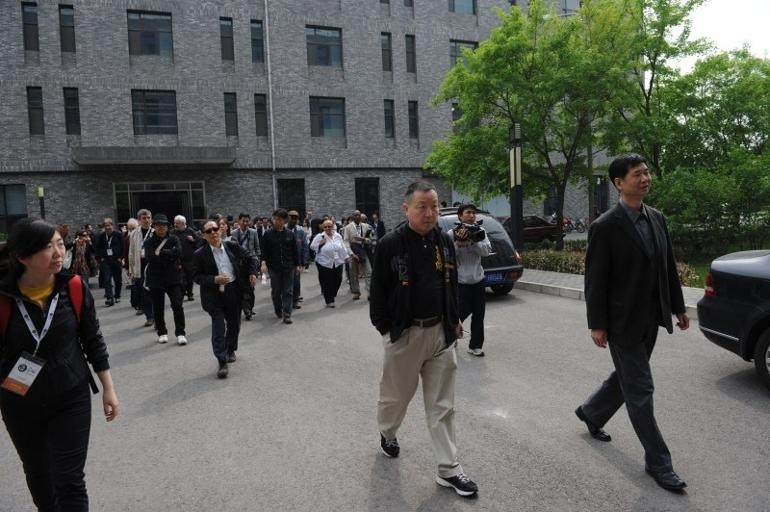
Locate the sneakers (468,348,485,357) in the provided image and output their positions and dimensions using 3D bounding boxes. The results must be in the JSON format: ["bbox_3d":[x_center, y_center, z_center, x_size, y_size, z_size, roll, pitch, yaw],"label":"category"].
[{"bbox_3d":[1.406,1.515,8.583,0.096,0.087,0.204,1,-5,-36],"label":"sneakers"}]

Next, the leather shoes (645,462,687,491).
[{"bbox_3d":[2.544,2.042,5.121,0.130,0.170,0.379,-4,-4,-15],"label":"leather shoes"}]

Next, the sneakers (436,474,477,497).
[{"bbox_3d":[0.668,2.093,5.127,0.329,0.150,0.158,1,8,31],"label":"sneakers"}]

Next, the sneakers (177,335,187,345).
[{"bbox_3d":[-3.622,1.551,10.063,0.106,0.112,0.263,-1,-7,-26],"label":"sneakers"}]

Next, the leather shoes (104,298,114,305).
[{"bbox_3d":[-7.275,1.268,14.848,0.107,0.316,0.131,-1,48,-6],"label":"leather shoes"}]

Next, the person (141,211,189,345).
[{"bbox_3d":[-4.018,0.435,10.324,0.664,2.331,1.103,-8,10,-28],"label":"person"}]

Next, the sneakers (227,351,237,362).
[{"bbox_3d":[-2.364,1.617,8.727,0.137,0.141,0.149,2,-6,-14],"label":"sneakers"}]

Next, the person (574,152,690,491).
[{"bbox_3d":[2.345,0.557,5.317,0.968,3.013,0.920,1,10,26],"label":"person"}]

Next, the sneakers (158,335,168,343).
[{"bbox_3d":[-4.039,1.543,10.261,0.155,0.118,0.273,-6,9,-21],"label":"sneakers"}]

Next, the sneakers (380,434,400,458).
[{"bbox_3d":[0.062,1.962,5.705,0.124,0.112,0.268,-2,3,-22],"label":"sneakers"}]

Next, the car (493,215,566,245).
[{"bbox_3d":[6.977,-1.461,26.071,3.660,1.207,1.751,3,-1,-18],"label":"car"}]
